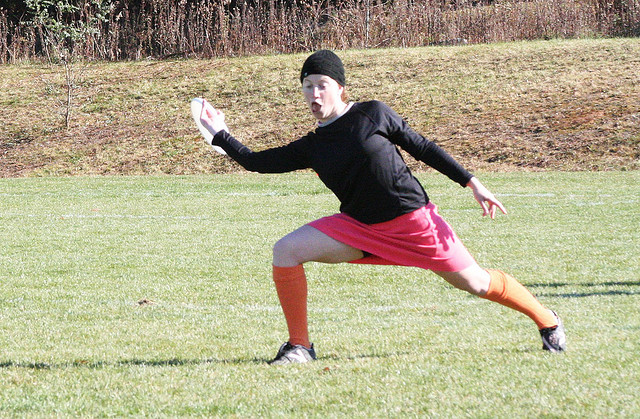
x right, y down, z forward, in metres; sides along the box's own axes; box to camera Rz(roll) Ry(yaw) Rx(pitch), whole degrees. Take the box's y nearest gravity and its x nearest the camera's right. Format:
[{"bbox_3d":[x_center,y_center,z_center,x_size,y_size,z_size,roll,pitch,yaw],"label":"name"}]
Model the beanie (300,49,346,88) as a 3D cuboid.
[{"bbox_3d":[0.031,-1.835,11.524,0.510,0.402,0.495,0,-12,15],"label":"beanie"}]
